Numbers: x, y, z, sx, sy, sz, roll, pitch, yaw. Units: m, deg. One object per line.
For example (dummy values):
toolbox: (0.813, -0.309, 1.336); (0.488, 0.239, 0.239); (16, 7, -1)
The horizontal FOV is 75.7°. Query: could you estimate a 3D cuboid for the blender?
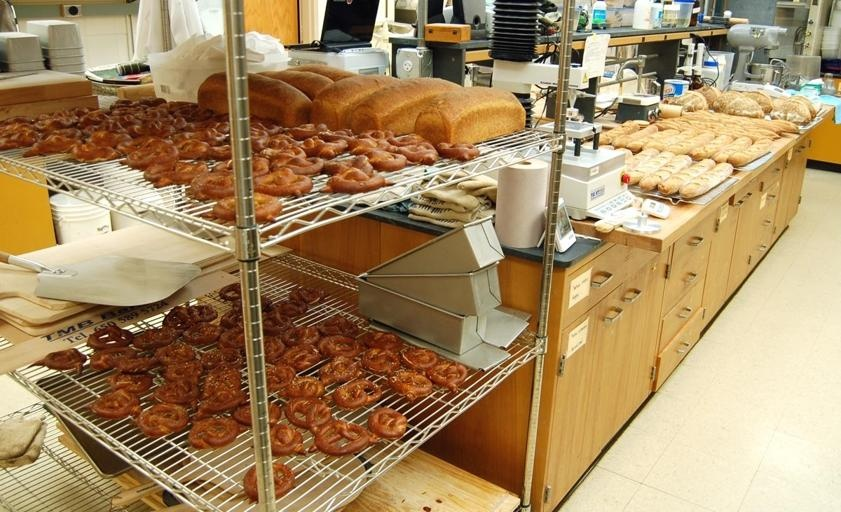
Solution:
blender: (3.288, -1.902, 5.145); (0.430, 0.620, 0.648); (-22, 30, -12)
